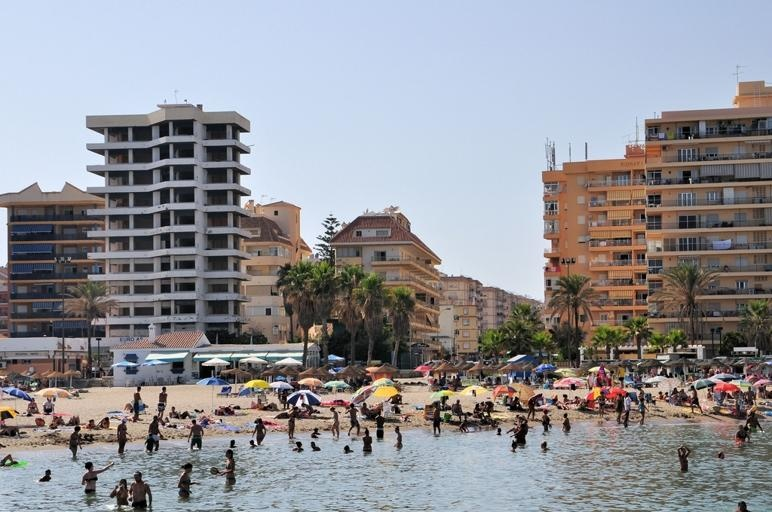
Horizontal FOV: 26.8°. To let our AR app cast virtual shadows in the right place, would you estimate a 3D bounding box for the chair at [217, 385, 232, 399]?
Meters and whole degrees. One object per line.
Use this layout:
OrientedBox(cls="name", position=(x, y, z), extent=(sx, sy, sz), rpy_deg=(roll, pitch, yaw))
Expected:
OrientedBox(cls="chair", position=(-18.217, 15.202, 183.940), extent=(1.372, 1.173, 1.998), rpy_deg=(3, 4, 9))
